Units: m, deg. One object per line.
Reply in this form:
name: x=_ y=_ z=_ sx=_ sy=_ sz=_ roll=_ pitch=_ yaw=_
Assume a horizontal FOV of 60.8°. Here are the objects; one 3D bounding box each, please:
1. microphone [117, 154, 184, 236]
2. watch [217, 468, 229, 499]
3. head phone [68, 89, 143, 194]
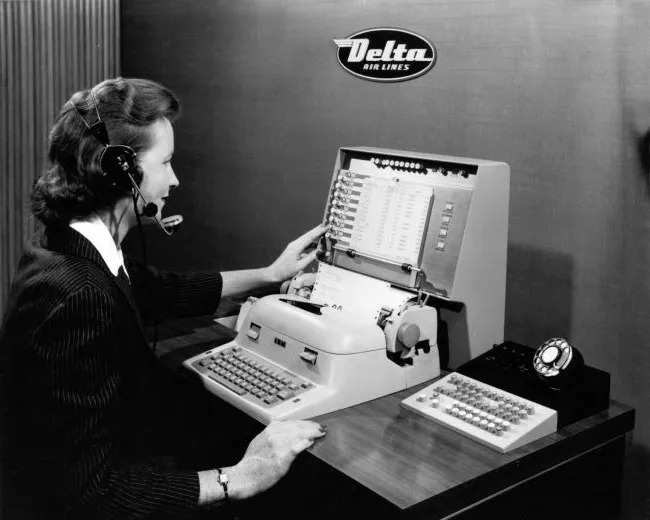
microphone: x=-0.439 y=-0.153 z=1.449 sx=0.068 sy=0.196 sz=0.110 roll=-36 pitch=33 yaw=-22
watch: x=-0.233 y=0.508 z=1.267 sx=0.031 sy=0.053 sz=0.054 roll=-1 pitch=45 yaw=-11
head phone: x=-0.530 y=-0.278 z=1.374 sx=0.074 sy=0.220 sz=0.169 roll=-28 pitch=-11 yaw=-8
